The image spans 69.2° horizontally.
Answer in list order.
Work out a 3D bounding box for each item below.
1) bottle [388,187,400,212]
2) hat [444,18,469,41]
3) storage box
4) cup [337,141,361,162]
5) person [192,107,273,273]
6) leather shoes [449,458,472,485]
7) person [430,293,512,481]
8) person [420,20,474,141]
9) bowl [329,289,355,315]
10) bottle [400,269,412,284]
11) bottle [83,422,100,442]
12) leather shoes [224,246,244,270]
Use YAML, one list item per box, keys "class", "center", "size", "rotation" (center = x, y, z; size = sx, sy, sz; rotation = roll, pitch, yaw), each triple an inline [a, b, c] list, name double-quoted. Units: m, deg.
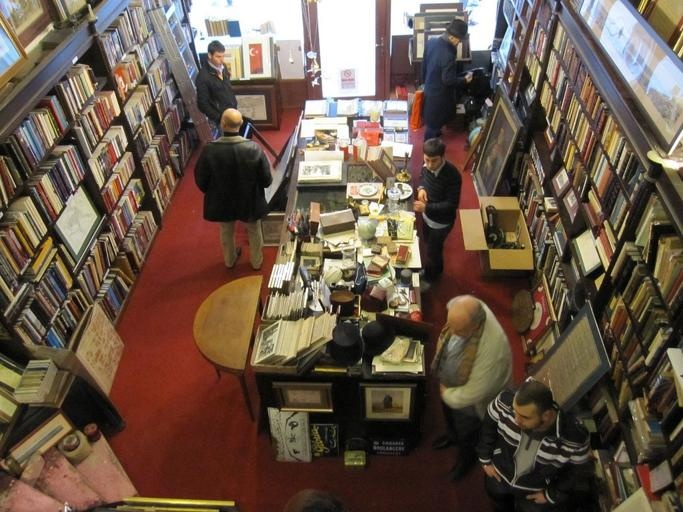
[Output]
- class: "bottle"
  center: [0.599, -0.638, 5.621]
  size: [0.128, 0.222, 0.150]
  rotation: [-5, 58, 0]
- class: "hat"
  center: [1.590, -3.108, 6.810]
  size: [0.257, 0.268, 0.282]
  rotation: [0, 36, 6]
- class: "storage box"
  center: [1.927, -0.189, 6.299]
  size: [0.733, 0.404, 1.291]
  rotation: [-2, 62, 8]
- class: "cup"
  center: [0.131, -1.360, 6.378]
  size: [0.233, 0.157, 0.276]
  rotation: [-7, 88, 5]
- class: "person"
  center: [-1.315, -0.830, 6.129]
  size: [0.854, 2.178, 0.747]
  rotation: [-4, 43, -14]
- class: "leather shoes"
  center: [1.105, 1.981, 4.575]
  size: [0.114, 0.129, 0.314]
  rotation: [41, 99, 12]
- class: "person"
  center: [1.117, 1.222, 4.298]
  size: [0.463, 1.551, 0.578]
  rotation: [-19, 54, -8]
- class: "person"
  center: [1.602, -2.449, 7.375]
  size: [0.594, 1.843, 0.666]
  rotation: [5, 43, 10]
- class: "bowl"
  center: [0.023, 0.415, 4.534]
  size: [0.179, 0.156, 0.226]
  rotation: [5, 68, 4]
- class: "bottle"
  center: [0.646, 0.196, 4.970]
  size: [0.112, 0.114, 0.123]
  rotation: [-20, 50, -10]
- class: "bottle"
  center: [-2.299, 1.635, 4.582]
  size: [0.138, 0.141, 0.156]
  rotation: [-9, 48, -13]
- class: "leather shoes"
  center: [-1.379, 0.003, 6.443]
  size: [0.096, 0.146, 0.372]
  rotation: [8, 59, 2]
